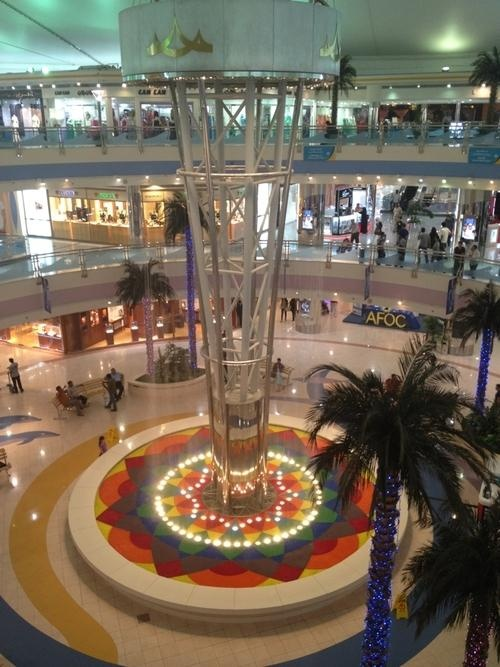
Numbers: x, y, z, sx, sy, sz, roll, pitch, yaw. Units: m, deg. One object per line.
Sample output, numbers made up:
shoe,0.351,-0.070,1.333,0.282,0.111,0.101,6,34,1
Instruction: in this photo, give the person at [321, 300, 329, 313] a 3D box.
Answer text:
person,4.305,-1.529,26.457,0.385,0.684,0.705,-11,-5,27

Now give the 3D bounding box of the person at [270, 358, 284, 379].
person,1.077,1.385,18.282,0.447,0.933,0.503,7,20,24

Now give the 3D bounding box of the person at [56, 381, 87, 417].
person,-6.404,2.284,16.281,0.871,1.270,0.995,7,19,22

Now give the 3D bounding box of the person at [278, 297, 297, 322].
person,2.171,-1.350,26.177,1.384,1.802,0.490,-2,36,-4
